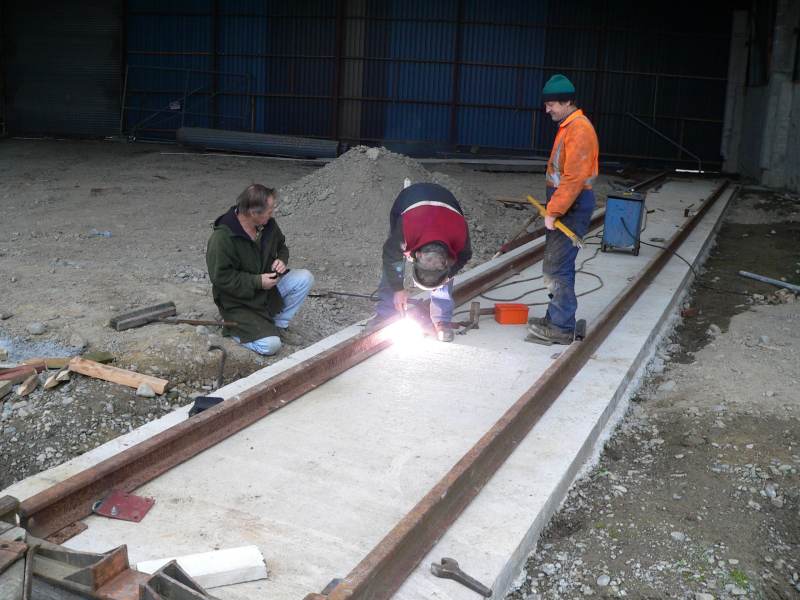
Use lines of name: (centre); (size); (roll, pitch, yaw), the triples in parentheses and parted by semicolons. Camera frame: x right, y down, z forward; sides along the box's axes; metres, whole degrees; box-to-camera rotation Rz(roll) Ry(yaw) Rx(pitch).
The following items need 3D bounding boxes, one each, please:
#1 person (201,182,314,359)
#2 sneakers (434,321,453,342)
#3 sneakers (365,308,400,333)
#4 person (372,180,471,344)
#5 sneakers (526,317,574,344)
person: (-1.122, -0.231, 4.553); (0.813, 1.360, 0.618); (-6, 15, -24)
sneakers: (0.319, 0.237, 4.178); (0.109, 0.122, 0.301); (0, -10, 2)
sneakers: (-0.143, 0.175, 4.328); (0.189, 0.136, 0.175); (-21, -8, 23)
person: (0.149, -0.255, 4.027); (0.666, 1.153, 0.989); (0, 14, -3)
sneakers: (1.092, 0.244, 4.157); (0.333, 0.149, 0.150); (9, 19, 10)
